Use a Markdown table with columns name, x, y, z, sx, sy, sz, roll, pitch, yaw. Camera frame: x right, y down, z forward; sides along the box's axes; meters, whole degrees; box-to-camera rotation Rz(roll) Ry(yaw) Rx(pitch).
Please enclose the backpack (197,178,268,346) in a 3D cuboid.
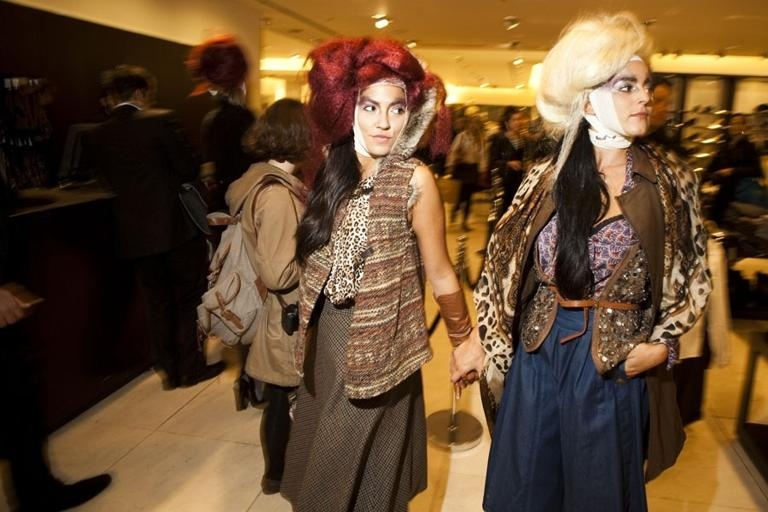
| name | x | y | z | sx | sy | sz | roll | pitch | yaw |
| --- | --- | --- | --- | --- | --- | --- | --- | --- | --- |
| backpack | -0.834 | 0.033 | 2.907 | 0.496 | 0.880 | 0.440 | 11 | 18 | 8 |
